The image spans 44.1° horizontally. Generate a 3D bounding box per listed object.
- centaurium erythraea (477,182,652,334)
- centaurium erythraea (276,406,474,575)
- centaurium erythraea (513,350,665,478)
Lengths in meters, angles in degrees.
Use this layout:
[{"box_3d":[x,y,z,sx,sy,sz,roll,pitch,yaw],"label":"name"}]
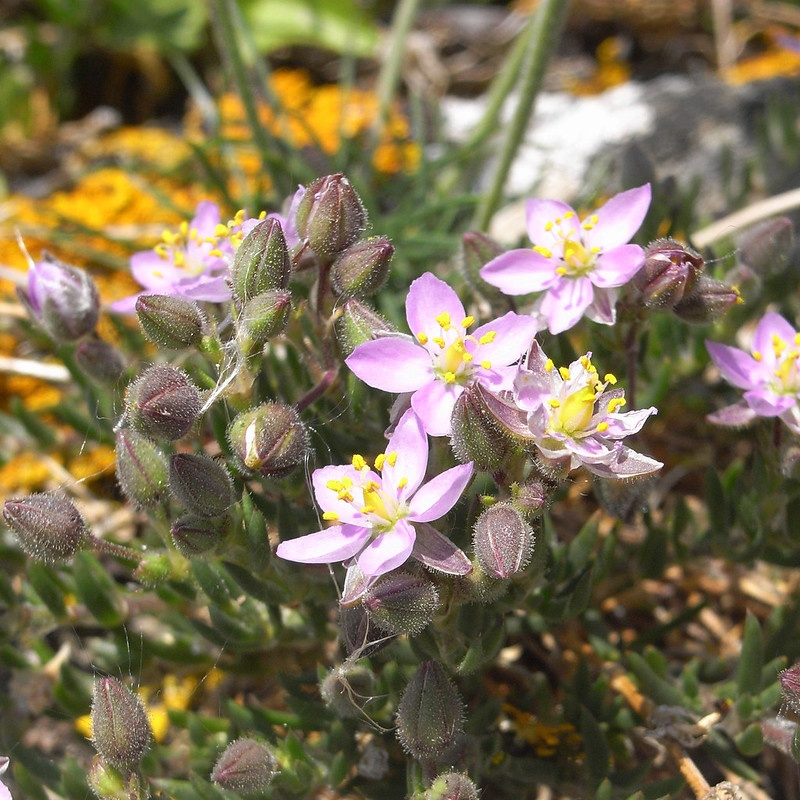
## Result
[{"box_3d":[0.279,-0.244,1.641,0.255,0.176,0.264,11,50,14],"label":"centaurium erythraea"},{"box_3d":[-0.030,0.141,1.442,0.274,0.150,0.260,0,48,4],"label":"centaurium erythraea"},{"box_3d":[0.277,0.030,1.503,0.206,0.160,0.207,-2,48,3],"label":"centaurium erythraea"}]
